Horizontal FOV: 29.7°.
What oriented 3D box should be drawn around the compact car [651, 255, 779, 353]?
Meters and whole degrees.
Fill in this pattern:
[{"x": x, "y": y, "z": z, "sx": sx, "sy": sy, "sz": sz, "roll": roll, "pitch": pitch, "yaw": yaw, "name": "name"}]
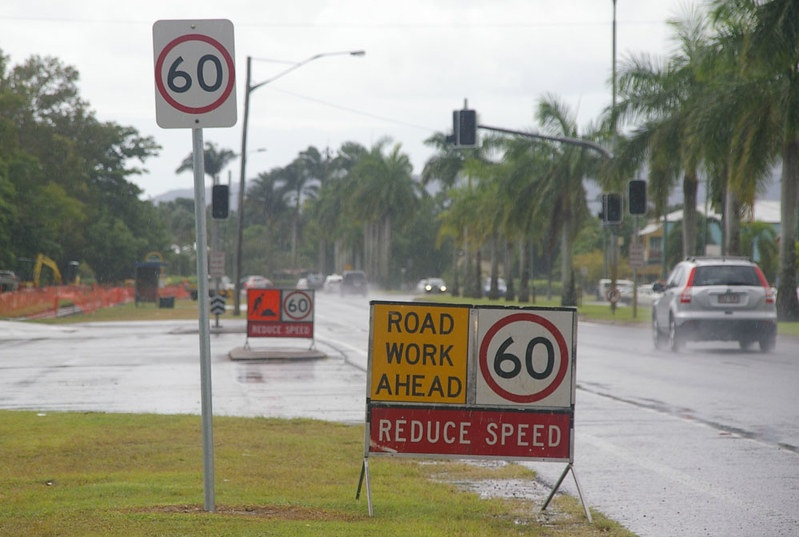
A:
[{"x": 9.971, "y": 1.019, "z": 50.097, "sx": 2.264, "sy": 2.312, "sz": 4.268, "roll": 0, "pitch": 2, "yaw": -1, "name": "compact car"}]
